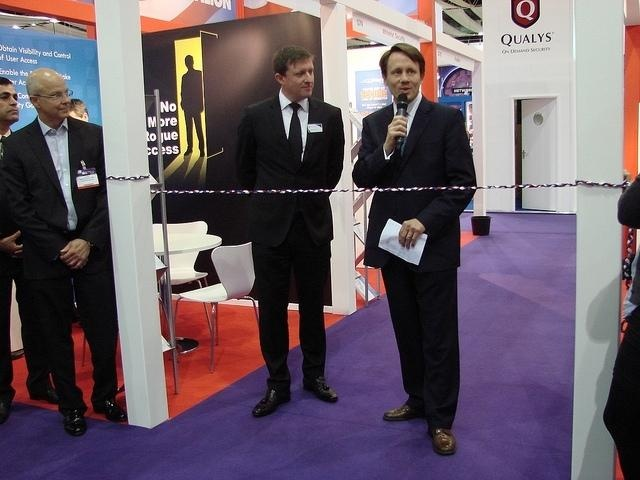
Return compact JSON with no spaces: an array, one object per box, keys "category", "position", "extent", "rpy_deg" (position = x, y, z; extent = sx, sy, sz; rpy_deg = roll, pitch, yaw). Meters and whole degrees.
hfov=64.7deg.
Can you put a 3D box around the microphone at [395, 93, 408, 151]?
[{"category":"microphone","position":[0.414,-0.578,2.508],"extent":[0.063,0.284,0.187],"rpy_deg":[0,12,9]}]

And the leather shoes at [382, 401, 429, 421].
[{"category":"leather shoes","position":[0.504,0.978,2.916],"extent":[0.240,0.103,0.104],"rpy_deg":[1,-1,0]}]

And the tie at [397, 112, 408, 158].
[{"category":"tie","position":[0.416,-0.527,2.534],"extent":[0.044,0.224,0.053],"rpy_deg":[5,17,12]}]

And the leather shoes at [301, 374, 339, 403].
[{"category":"leather shoes","position":[0.010,0.969,3.295],"extent":[0.099,0.121,0.281],"rpy_deg":[-12,3,-37]}]

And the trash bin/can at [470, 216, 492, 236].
[{"category":"trash bin/can","position":[2.822,-0.238,8.746],"extent":[0.309,0.264,0.310],"rpy_deg":[1,1,13]}]

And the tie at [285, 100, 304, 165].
[{"category":"tie","position":[-0.152,-0.660,3.106],"extent":[0.088,0.361,0.115],"rpy_deg":[-2,11,-3]}]

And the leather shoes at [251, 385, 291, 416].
[{"category":"leather shoes","position":[-0.298,1.006,3.171],"extent":[0.095,0.131,0.293],"rpy_deg":[-1,-3,28]}]

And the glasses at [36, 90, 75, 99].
[{"category":"glasses","position":[-1.547,-0.839,2.910],"extent":[0.170,0.053,0.077],"rpy_deg":[-13,16,-41]}]

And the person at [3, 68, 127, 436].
[{"category":"person","position":[-1.513,0.073,2.973],"extent":[0.555,2.090,0.512],"rpy_deg":[-6,12,-24]}]

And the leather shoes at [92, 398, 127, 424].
[{"category":"leather shoes","position":[-1.275,1.040,3.112],"extent":[0.276,0.130,0.102],"rpy_deg":[4,4,12]}]

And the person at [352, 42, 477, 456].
[{"category":"person","position":[0.485,0.054,2.654],"extent":[0.609,2.067,0.424],"rpy_deg":[3,12,22]}]
